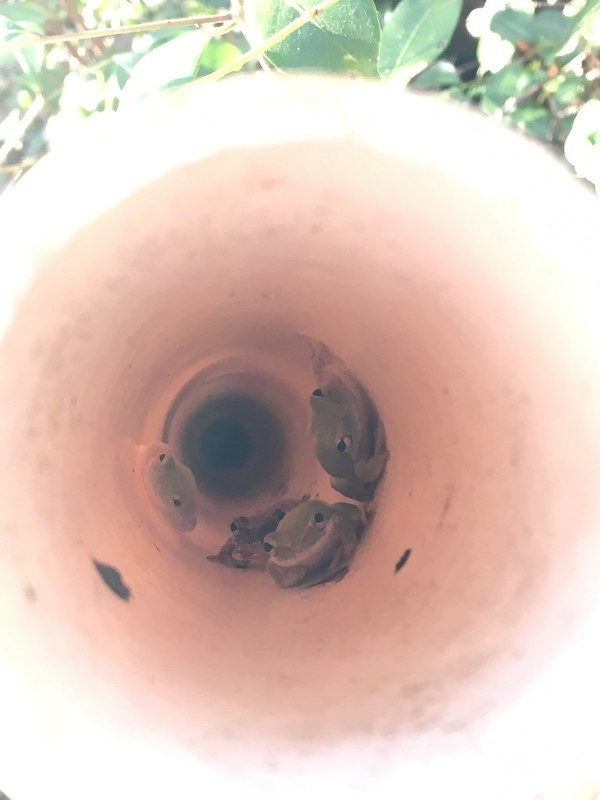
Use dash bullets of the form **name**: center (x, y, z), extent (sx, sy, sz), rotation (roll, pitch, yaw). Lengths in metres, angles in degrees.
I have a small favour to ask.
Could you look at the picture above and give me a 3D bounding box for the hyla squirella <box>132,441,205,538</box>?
- **hyla squirella**: center (-0.258, 0.173, 1.501), extent (0.041, 0.131, 0.158), rotation (-20, -76, 16)
